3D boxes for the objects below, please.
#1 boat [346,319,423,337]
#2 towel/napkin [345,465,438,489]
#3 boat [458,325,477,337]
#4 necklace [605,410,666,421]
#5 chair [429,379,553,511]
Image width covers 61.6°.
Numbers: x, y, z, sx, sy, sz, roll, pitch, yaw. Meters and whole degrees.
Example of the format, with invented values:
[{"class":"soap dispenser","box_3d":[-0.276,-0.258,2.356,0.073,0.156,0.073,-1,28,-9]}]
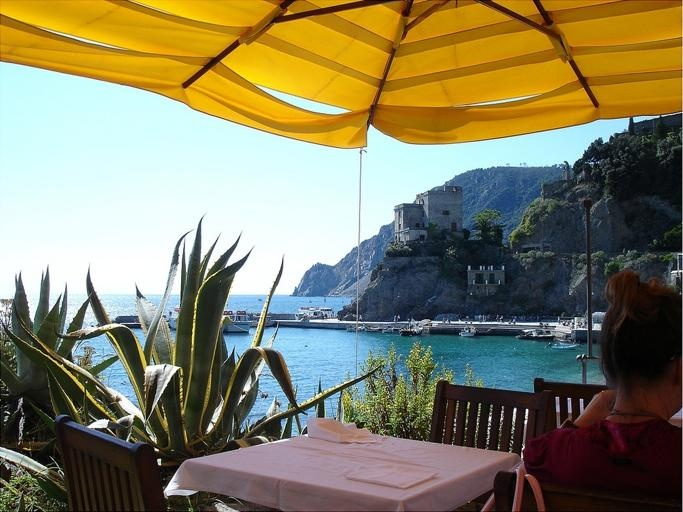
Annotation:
[{"class":"boat","box_3d":[6.393,9.344,73.686,9.405,1.784,5.332,-7,-9,39]},{"class":"towel/napkin","box_3d":[0.200,0.829,2.185,0.292,0.031,0.266,-5,-8,27]},{"class":"boat","box_3d":[15.248,8.919,68.224,1.414,1.030,1.024,-2,3,3]},{"class":"necklace","box_3d":[0.988,0.525,1.898,0.150,0.028,0.028,-2,25,24]},{"class":"chair","box_3d":[0.803,0.901,3.202,0.620,0.950,0.652,-1,-6,33]}]
